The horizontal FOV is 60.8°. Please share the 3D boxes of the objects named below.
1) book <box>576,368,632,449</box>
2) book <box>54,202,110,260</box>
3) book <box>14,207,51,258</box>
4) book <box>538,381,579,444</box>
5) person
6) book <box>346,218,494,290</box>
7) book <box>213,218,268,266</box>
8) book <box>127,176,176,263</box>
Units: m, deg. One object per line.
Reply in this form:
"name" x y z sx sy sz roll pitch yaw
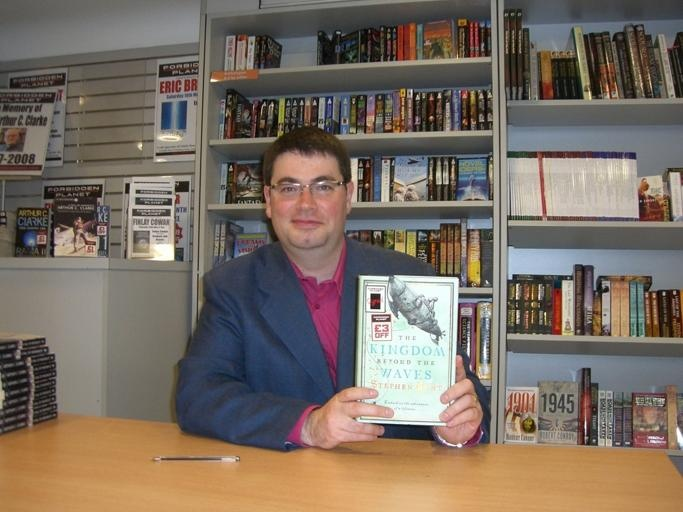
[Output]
"book" 1.328 0.794 3.146 0.302 0.413 0.414 0 -3 5
"book" -1.377 -0.124 3.094 0.292 0.335 0.044 0 -12 1
"book" -1.726 -0.135 3.253 0.178 0.277 0.264 0 -1 -29
"book" 1.114 0.811 3.049 0.215 0.298 0.164 1 -9 10
"person" -0.063 0.325 2.071 1.025 1.506 0.814 -2 2 -4
"book" 0.524 -0.013 3.099 0.959 0.310 0.331 3 1 21
"book" -0.558 -0.046 3.445 0.252 0.350 0.353 0 -11 10
"book" -1.109 -0.223 3.384 0.269 0.491 0.213 0 -1 -20
